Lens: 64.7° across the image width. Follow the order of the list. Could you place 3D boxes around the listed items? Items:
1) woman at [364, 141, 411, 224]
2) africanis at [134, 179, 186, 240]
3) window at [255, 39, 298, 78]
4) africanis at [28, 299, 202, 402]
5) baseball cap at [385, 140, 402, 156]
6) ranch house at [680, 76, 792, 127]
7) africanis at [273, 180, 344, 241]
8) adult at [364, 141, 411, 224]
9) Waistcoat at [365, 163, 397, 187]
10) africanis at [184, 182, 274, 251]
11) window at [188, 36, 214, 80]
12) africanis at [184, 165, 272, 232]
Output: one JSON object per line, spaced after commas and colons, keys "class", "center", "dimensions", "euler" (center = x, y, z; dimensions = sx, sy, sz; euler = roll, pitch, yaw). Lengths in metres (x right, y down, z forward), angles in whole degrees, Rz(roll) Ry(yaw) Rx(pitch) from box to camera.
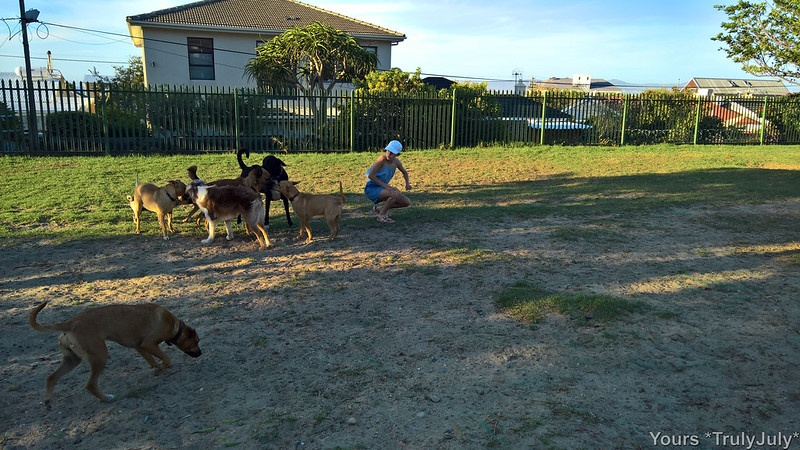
{"class": "woman", "center": [-0.312, -1.044, 14.802], "dimensions": [1.013, 1.813, 1.239], "euler": [-3, 14, 0]}
{"class": "africanis", "center": [-5.378, -0.427, 14.031], "dimensions": [2.160, 1.364, 0.585], "euler": [8, 10, 33]}
{"class": "window", "center": [-5.900, -7.262, 28.605], "dimensions": [1.650, 1.545, 1.686], "euler": [10, 17, 2]}
{"class": "africanis", "center": [-4.417, 1.944, 10.189], "dimensions": [2.632, 1.597, 0.695], "euler": [-2, -2, -45]}
{"class": "baseball cap", "center": [-0.121, -1.744, 14.463], "dimensions": [0.341, 0.312, 0.230], "euler": [-11, 16, -28]}
{"class": "ranch house", "center": [32.602, -12.123, 61.712], "dimensions": [8.834, 4.268, 4.825], "euler": [6, 20, 15]}
{"class": "africanis", "center": [-1.912, -0.361, 13.557], "dimensions": [1.652, 1.264, 0.471], "euler": [7, 16, 19]}
{"class": "adult", "center": [-0.311, -1.045, 14.806], "dimensions": [1.032, 1.813, 1.248], "euler": [-3, 14, -1]}
{"class": "Waistcoat", "center": [-0.444, -1.169, 15.085], "dimensions": [0.747, 0.569, 0.397], "euler": [-20, 33, -22]}
{"class": "africanis", "center": [-3.635, -0.208, 13.372], "dimensions": [1.906, 1.167, 0.541], "euler": [4, 6, 12]}
{"class": "window", "center": [-10.105, -8.428, 32.235], "dimensions": [1.301, 2.119, 0.214], "euler": [-6, 15, -12]}
{"class": "africanis", "center": [-3.719, -0.649, 13.964], "dimensions": [1.961, 1.409, 0.563], "euler": [4, 15, 6]}
